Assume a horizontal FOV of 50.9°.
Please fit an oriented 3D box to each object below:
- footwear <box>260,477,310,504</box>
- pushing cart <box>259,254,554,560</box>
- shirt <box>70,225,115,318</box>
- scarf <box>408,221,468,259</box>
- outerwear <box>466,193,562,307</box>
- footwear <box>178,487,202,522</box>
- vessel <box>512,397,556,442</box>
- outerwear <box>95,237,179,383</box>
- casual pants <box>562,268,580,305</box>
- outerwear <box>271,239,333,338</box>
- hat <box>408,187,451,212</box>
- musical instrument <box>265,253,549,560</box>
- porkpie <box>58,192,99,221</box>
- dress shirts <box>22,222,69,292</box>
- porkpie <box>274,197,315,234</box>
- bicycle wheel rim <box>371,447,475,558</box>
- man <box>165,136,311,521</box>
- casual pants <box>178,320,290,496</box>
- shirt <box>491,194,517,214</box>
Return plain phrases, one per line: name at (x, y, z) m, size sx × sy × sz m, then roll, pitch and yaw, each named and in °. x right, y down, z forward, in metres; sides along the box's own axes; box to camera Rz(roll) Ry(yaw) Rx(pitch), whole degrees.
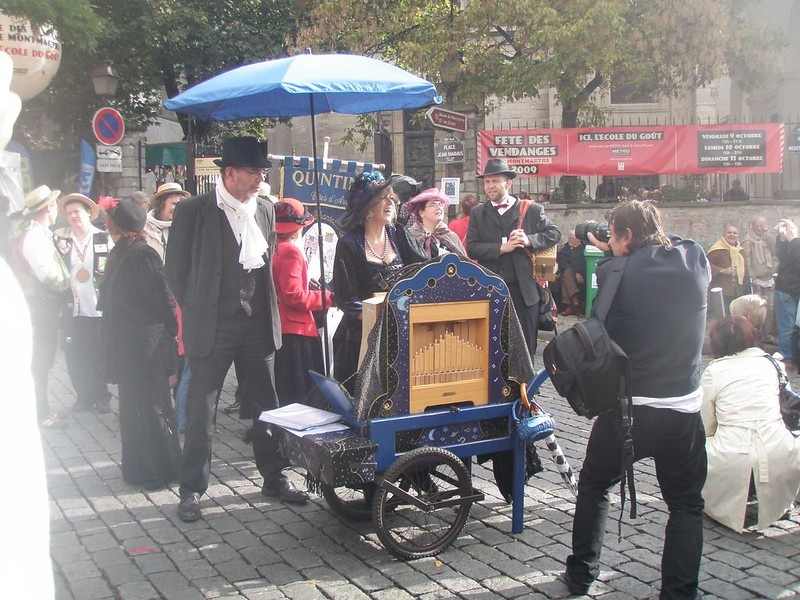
footwear at (-0.945, 1.575, 6.942) m, size 0.369 × 0.169 × 0.168 m, roll 5°, pitch 3°, yaw 24°
pushing cart at (-0.046, 0.773, 6.319) m, size 1.883 × 1.936 × 1.562 m, roll -5°, pitch -2°, yaw -8°
shirt at (-3.465, -0.416, 9.479) m, size 0.657 × 1.223 × 0.302 m, roll 1°, pitch -10°, yaw -8°
scarf at (0.367, -0.586, 8.050) m, size 0.227 × 0.315 × 0.397 m, roll -12°, pitch 28°, yaw -37°
outerwear at (1.168, -0.493, 8.702) m, size 0.823 × 1.143 × 0.604 m, roll 1°, pitch 18°, yaw 12°
footwear at (-1.663, 1.609, 6.638) m, size 0.185 × 0.184 × 0.268 m, roll -4°, pitch 14°, yaw -15°
vessel at (0.992, 0.871, 6.121) m, size 0.302 × 0.327 × 0.189 m, roll -14°, pitch -15°, yaw -5°
outerwear at (-2.328, 0.073, 7.420) m, size 0.783 × 1.298 × 0.498 m, roll 6°, pitch 17°, yaw 16°
casual pants at (3.126, -0.247, 15.302) m, size 0.342 × 0.585 × 0.203 m, roll 0°, pitch -7°, yaw 31°
outerwear at (-0.930, -0.076, 7.859) m, size 0.571 × 1.019 × 0.701 m, roll -9°, pitch 20°, yaw -21°
hat at (0.296, -0.953, 7.847) m, size 0.257 × 0.093 × 0.247 m, roll -10°, pitch 6°, yaw -27°
musical instrument at (0.028, 0.673, 6.959) m, size 2.229 × 2.687 × 1.691 m, roll -7°, pitch 10°, yaw -23°
porkpie at (-3.824, -1.072, 9.920) m, size 0.409 × 0.116 × 0.426 m, roll 4°, pitch 20°, yaw 1°
dress shirts at (-3.748, -0.421, 8.873) m, size 0.341 × 0.729 × 0.734 m, roll -13°, pitch 13°, yaw -18°
porkpie at (-0.978, -0.748, 7.730) m, size 0.311 × 0.147 × 0.320 m, roll 22°, pitch 37°, yaw 34°
bicycle wheel rim at (0.160, 1.470, 6.086) m, size 0.628 × 0.679 × 0.225 m, roll -13°, pitch 22°, yaw -15°
man at (-1.323, 0.217, 6.913) m, size 1.071 × 3.048 × 0.825 m, roll -1°, pitch 8°, yaw -21°
casual pants at (-1.375, 0.734, 6.877) m, size 0.858 × 1.711 × 0.365 m, roll -2°, pitch 0°, yaw -26°
shirt at (1.099, -0.980, 8.715) m, size 0.182 × 0.149 × 0.215 m, roll -26°, pitch -5°, yaw 16°
